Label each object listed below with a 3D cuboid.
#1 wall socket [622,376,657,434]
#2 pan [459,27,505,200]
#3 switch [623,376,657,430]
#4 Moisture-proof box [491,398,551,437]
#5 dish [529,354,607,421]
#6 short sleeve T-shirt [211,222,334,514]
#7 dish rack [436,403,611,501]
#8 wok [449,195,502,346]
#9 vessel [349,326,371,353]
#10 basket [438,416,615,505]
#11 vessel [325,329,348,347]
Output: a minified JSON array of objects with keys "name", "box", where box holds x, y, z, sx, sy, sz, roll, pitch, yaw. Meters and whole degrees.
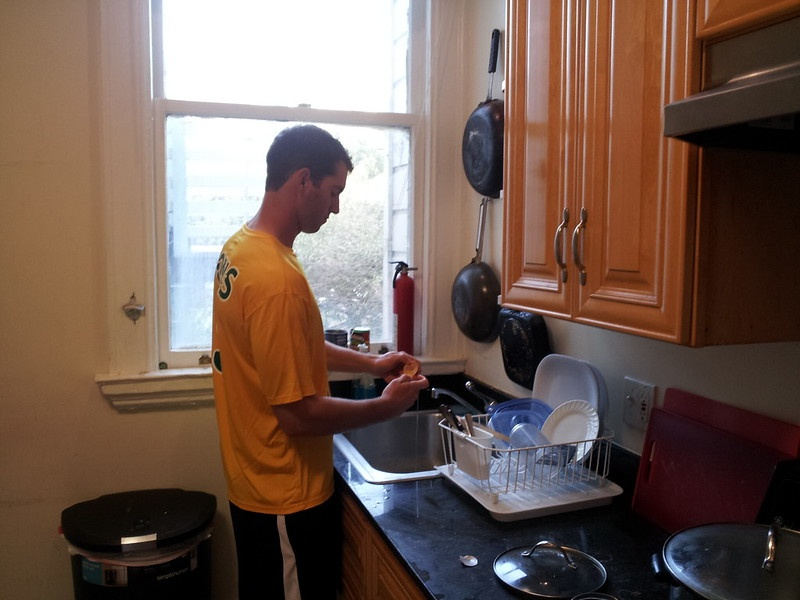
[{"name":"wall socket","box":[0.707,0.308,1.925,0.022,0.193,0.134,3,11,-21]},{"name":"pan","box":[0.328,-0.579,2.519,0.100,0.373,0.290,-4,11,-12]},{"name":"switch","box":[0.708,0.303,1.923,0.021,0.187,0.131,3,8,-21]},{"name":"Moisture-proof box","box":[0.406,0.391,2.279,0.239,0.104,0.211,2,1,-16]},{"name":"dish","box":[0.542,0.281,2.126,0.041,0.206,0.136,-1,6,-27]},{"name":"short sleeve T-shirt","box":[-0.408,0.221,1.950,0.373,0.858,0.344,-2,10,-2]},{"name":"dish rack","box":[0.378,0.460,1.967,0.312,0.210,0.339,-1,0,-14]},{"name":"wok","box":[0.306,-0.107,2.659,0.138,0.603,0.303,-4,11,-11]},{"name":"vessel","box":[-0.167,0.164,2.727,0.080,0.104,0.088,1,7,-9]},{"name":"basket","box":[0.468,0.521,2.050,0.311,0.176,0.424,2,-19,-7]},{"name":"vessel","box":[-0.257,0.157,2.707,0.067,0.084,0.073,-1,5,-1]}]
